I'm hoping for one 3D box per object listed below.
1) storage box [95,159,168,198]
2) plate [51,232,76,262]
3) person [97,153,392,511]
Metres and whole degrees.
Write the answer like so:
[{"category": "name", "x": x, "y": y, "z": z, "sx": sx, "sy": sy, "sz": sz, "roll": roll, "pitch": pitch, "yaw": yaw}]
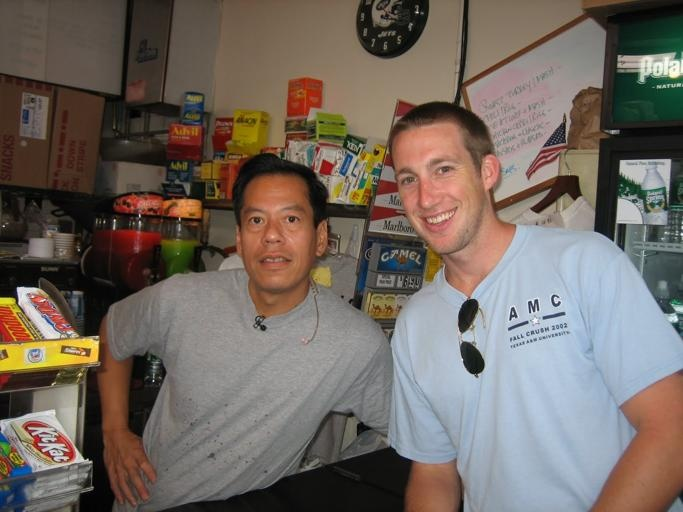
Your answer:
[{"category": "storage box", "x": -2.122, "y": -0.769, "z": 4.953, "sx": 0.318, "sy": 0.412, "sz": 0.600, "roll": 5, "pitch": 4, "yaw": 43}, {"category": "plate", "x": -2.356, "y": -0.090, "z": 4.236, "sx": 0.175, "sy": 0.197, "sz": 0.273, "roll": -3, "pitch": 7, "yaw": -30}, {"category": "person", "x": -0.370, "y": 0.289, "z": 1.831, "sx": 1.048, "sy": 1.323, "sz": 0.521, "roll": -1, "pitch": 6, "yaw": -16}]
